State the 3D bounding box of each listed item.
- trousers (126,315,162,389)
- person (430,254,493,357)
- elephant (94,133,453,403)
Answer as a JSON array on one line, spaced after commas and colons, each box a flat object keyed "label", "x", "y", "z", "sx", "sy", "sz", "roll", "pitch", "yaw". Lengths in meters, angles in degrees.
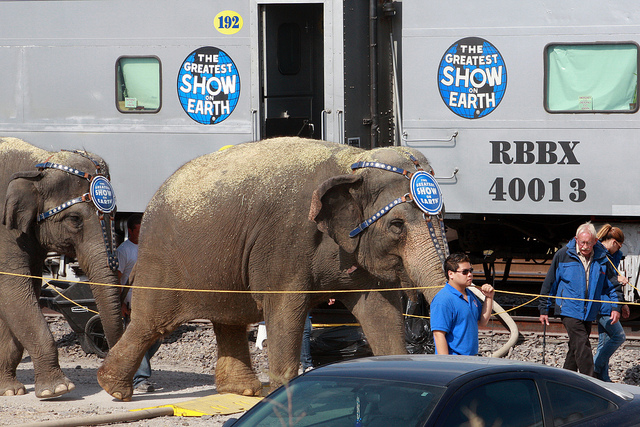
[{"label": "trousers", "x": -2.320, "y": 1.790, "z": 16.509, "sx": 0.553, "sy": 0.397, "sz": 1.092, "roll": -13, "pitch": 36, "yaw": 6}, {"label": "person", "x": 1.658, "y": 1.040, "z": 14.269, "sx": 0.770, "sy": 1.141, "sz": 0.320, "roll": 5, "pitch": -9, "yaw": -27}, {"label": "elephant", "x": -0.468, "y": 0.686, "z": 15.629, "sx": 4.835, "sy": 3.134, "sz": 2.281, "roll": -1, "pitch": 3, "yaw": 16}]
